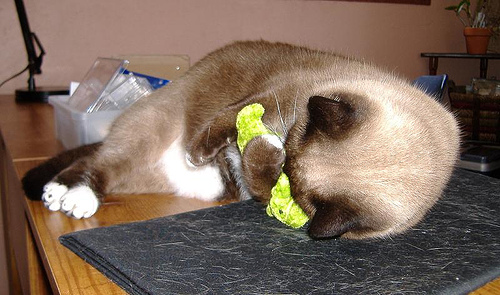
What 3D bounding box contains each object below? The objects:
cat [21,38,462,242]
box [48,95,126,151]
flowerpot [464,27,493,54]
[{"bbox_3d":[0.036,-0.078,1.521,1.424,0.559,0.688,5,17,9],"label":"cat"},{"bbox_3d":[-0.697,-0.119,1.772,0.215,0.136,0.304,-12,15,-42],"label":"box"},{"bbox_3d":[2.243,-1.051,4.256,0.262,0.264,0.296,1,3,5],"label":"flowerpot"}]
